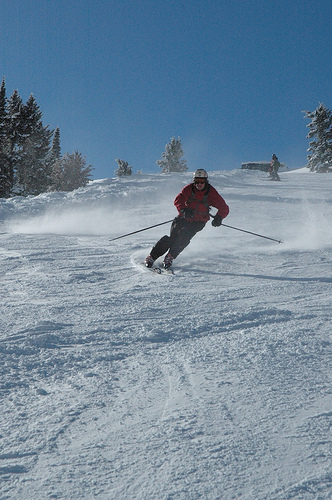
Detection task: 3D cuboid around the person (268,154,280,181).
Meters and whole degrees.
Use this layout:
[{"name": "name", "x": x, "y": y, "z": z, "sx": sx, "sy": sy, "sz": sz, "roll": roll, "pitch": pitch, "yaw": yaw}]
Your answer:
[{"name": "person", "x": 6.308, "y": -4.800, "z": 26.033, "sx": 0.551, "sy": 1.443, "sz": 2.317, "roll": 3, "pitch": 11, "yaw": 12}]

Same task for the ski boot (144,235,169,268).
[{"name": "ski boot", "x": -0.147, "y": 0.030, "z": 6.774, "sx": 0.152, "sy": 0.367, "sz": 0.513, "roll": 31, "pitch": 53, "yaw": 11}]

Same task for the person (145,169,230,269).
[{"name": "person", "x": 0.346, "y": -0.499, "z": 6.427, "sx": 1.206, "sy": 1.304, "sz": 0.561, "roll": -6, "pitch": 13, "yaw": -32}]
